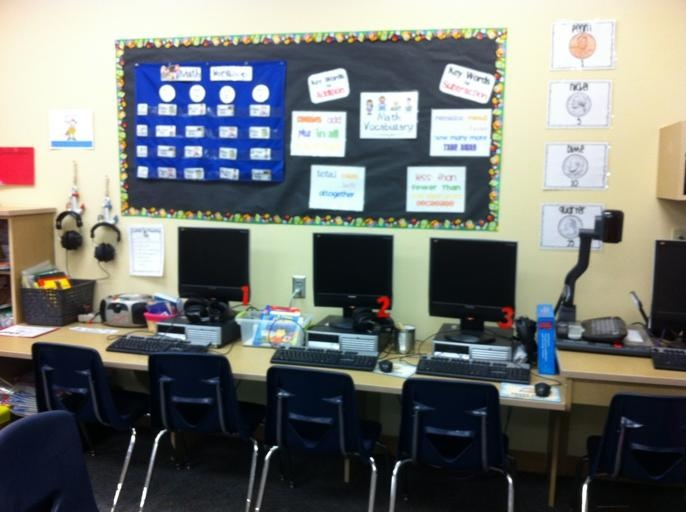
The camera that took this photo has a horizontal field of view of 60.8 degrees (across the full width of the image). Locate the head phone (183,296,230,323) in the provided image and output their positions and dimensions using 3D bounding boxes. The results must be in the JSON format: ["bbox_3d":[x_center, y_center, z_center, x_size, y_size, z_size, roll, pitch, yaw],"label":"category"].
[{"bbox_3d":[-0.833,0.338,3.609,0.158,0.114,0.216,2,-8,-5],"label":"head phone"}]

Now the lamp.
[{"bbox_3d":[1.380,0.058,3.286,0.328,0.637,0.208,3,5,21],"label":"lamp"}]

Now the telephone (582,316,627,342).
[{"bbox_3d":[1.413,0.401,3.184,0.187,0.058,0.146,-5,39,27],"label":"telephone"}]

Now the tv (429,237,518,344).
[{"bbox_3d":[0.748,0.189,3.333,0.590,0.688,0.288,1,3,18],"label":"tv"}]

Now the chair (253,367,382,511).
[{"bbox_3d":[-0.089,0.845,3.234,0.719,0.991,0.721,1,6,9],"label":"chair"}]

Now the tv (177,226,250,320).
[{"bbox_3d":[-0.808,0.099,3.670,0.556,0.713,0.235,0,-2,10],"label":"tv"}]

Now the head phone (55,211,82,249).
[{"bbox_3d":[-1.892,-0.173,4.037,0.177,0.282,0.180,0,4,-15],"label":"head phone"}]

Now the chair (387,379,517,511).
[{"bbox_3d":[0.510,0.798,3.031,0.654,0.871,0.632,1,9,12],"label":"chair"}]

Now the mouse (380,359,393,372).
[{"bbox_3d":[0.237,0.586,3.142,0.083,0.081,0.049,1,-5,19],"label":"mouse"}]

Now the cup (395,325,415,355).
[{"bbox_3d":[0.367,0.494,3.488,0.135,0.155,0.143,1,1,0],"label":"cup"}]

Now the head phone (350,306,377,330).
[{"bbox_3d":[0.126,0.365,3.417,0.109,0.057,0.154,2,9,3],"label":"head phone"}]

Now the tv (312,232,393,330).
[{"bbox_3d":[0.068,0.139,3.498,0.563,0.631,0.333,0,1,12],"label":"tv"}]

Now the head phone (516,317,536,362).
[{"bbox_3d":[1.009,0.462,3.221,0.118,0.247,0.125,2,5,18],"label":"head phone"}]

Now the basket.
[{"bbox_3d":[-1.864,0.319,3.889,0.250,0.204,0.365,1,0,12],"label":"basket"}]

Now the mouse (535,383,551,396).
[{"bbox_3d":[0.979,0.655,2.862,0.054,0.048,0.071,0,-4,12],"label":"mouse"}]
